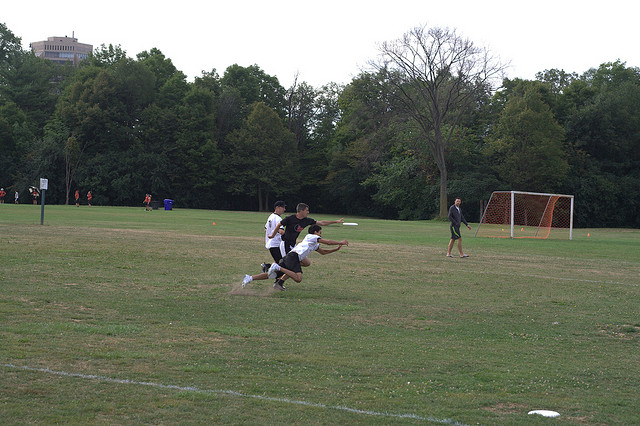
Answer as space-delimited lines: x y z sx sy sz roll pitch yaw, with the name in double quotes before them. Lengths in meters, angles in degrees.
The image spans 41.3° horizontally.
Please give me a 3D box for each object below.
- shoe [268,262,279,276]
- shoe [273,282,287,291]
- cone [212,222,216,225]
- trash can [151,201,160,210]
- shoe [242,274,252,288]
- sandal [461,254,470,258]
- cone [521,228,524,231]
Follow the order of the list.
"shoe" -1.922 2.217 34.414 0.274 0.583 0.225 16 -19 0
"shoe" -1.615 2.950 34.520 0.520 0.205 0.168 22 18 3
"cone" -6.913 0.639 55.222 0.149 0.149 0.143 0 -6 0
"trash can" -14.435 -0.715 74.055 0.836 0.585 0.674 -1 -1 7
"shoe" -3.008 2.700 34.516 0.305 0.605 0.215 5 -10 11
"sandal" 7.116 2.070 41.751 0.408 0.150 0.128 -7 12 -13
"cone" 14.829 1.168 62.315 0.142 0.082 0.139 -13 31 -1
